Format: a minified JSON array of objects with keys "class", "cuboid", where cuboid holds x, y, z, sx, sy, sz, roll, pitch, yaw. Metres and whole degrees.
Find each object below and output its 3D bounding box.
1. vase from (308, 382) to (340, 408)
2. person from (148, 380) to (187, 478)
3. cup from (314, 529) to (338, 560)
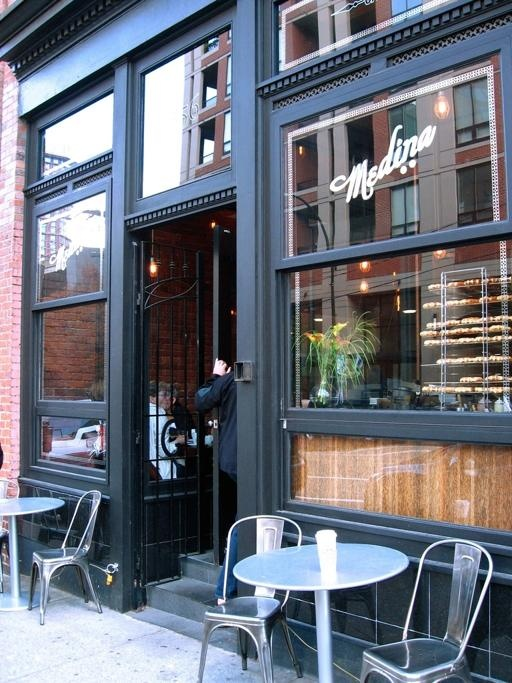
[{"class":"vase","cuboid":[0.346,0.279,3.427,0.127,0.103,0.110,-6,-13,30]},{"class":"person","cuboid":[-0.683,0.669,4.930,0.179,0.733,0.366,-3,-6,19]},{"class":"cup","cuboid":[0.258,0.749,2.473,0.066,0.085,0.086,-2,-5,6]}]
